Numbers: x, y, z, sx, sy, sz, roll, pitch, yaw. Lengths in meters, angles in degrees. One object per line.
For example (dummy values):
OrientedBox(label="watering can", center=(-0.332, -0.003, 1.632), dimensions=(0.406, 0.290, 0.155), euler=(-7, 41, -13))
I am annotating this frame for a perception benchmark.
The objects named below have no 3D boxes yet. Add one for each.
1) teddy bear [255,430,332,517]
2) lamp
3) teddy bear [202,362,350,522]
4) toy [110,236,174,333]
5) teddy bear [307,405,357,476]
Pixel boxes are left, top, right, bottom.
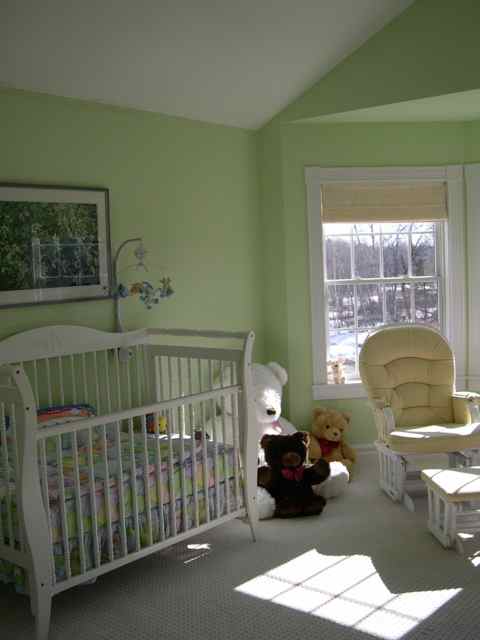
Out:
OrientedBox(label="teddy bear", center=(0.271, 0.780, 2.710), dimensions=(0.367, 0.407, 0.232), euler=(-2, 0, 3))
OrientedBox(label="lamp", center=(-0.529, -0.182, 2.933), dimensions=(0.331, 0.502, 0.109), euler=(0, 12, -10))
OrientedBox(label="teddy bear", center=(0.167, 0.678, 3.011), dimensions=(0.829, 0.756, 0.733), euler=(9, 21, 20))
OrientedBox(label="toy", center=(-0.529, -0.196, 2.959), dimensions=(0.207, 0.520, 0.488), euler=(-2, 0, 17))
OrientedBox(label="teddy bear", center=(0.568, 0.763, 3.345), dimensions=(0.319, 0.397, 0.291), euler=(9, 1, -23))
